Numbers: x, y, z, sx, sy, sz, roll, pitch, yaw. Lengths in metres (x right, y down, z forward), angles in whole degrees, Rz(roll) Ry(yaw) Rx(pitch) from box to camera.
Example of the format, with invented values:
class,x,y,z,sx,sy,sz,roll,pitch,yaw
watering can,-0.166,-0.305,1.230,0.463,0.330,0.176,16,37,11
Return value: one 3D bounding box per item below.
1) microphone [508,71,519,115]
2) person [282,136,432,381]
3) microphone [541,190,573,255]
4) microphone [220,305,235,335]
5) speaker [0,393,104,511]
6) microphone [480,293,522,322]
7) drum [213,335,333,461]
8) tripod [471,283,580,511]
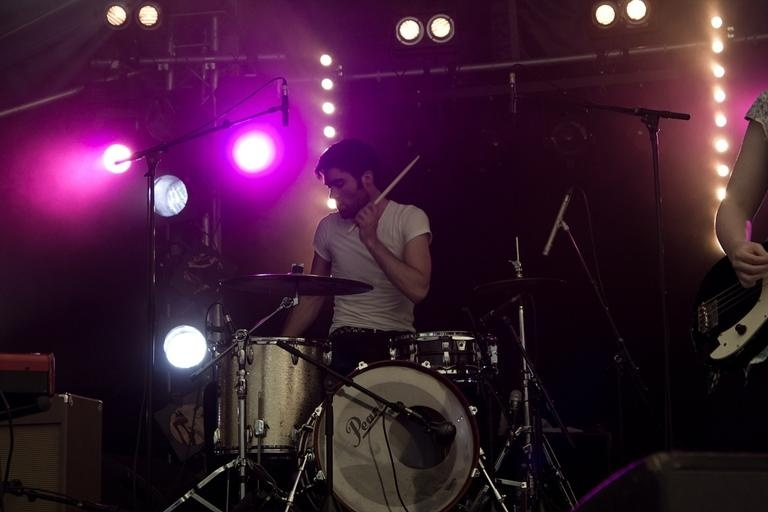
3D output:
class,x,y,z,sx,sy,sz,roll,pitch,yaw
microphone,1.092,-1.404,6.440,0.079,0.313,0.245,1,-15,10
person,-0.215,0.058,5.703,0.984,1.930,0.969,-22,-39,37
microphone,1.425,-0.261,6.234,0.097,0.554,0.068,24,-5,4
microphone,-1.168,0.476,5.631,0.053,0.180,0.123,-28,16,-30
speaker,-2.135,1.287,5.098,0.297,0.689,0.701,-2,-16,18
microphone,0.889,0.386,5.871,0.122,0.060,0.396,15,-32,-35
drum,-0.666,1.007,5.299,0.732,0.736,0.760,-9,-14,32
tripod,1.022,0.981,5.521,0.697,1.648,0.892,0,-15,14
